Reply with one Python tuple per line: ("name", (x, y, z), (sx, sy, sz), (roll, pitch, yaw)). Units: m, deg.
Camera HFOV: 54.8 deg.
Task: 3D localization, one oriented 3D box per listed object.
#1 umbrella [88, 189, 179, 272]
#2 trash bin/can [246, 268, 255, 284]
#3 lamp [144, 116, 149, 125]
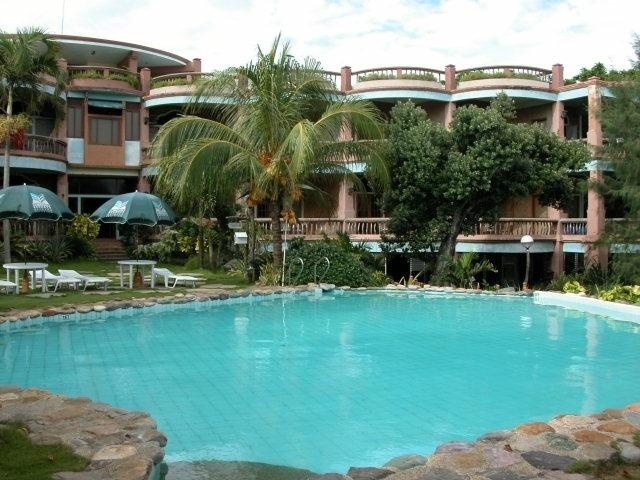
("umbrella", (-7.602, -0.243, 25.773), (3.693, 3.078, 3.651), (-3, 7, -34))
("trash bin/can", (-2.516, 1.250, 22.377), (0.279, 0.509, 0.640), (0, 0, -8))
("lamp", (-9.303, -6.552, 33.343), (0.237, 0.445, 0.142), (0, 0, -38))
